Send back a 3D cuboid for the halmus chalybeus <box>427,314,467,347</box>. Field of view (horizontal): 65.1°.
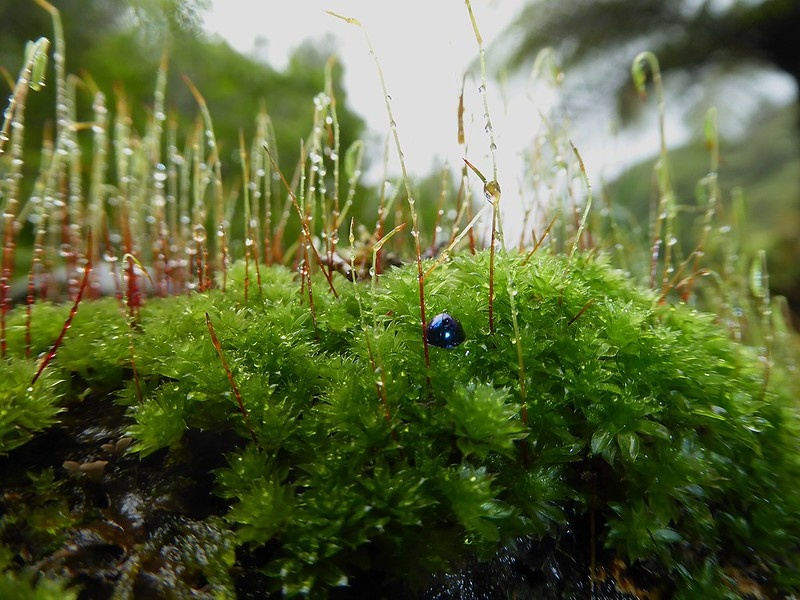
[{"bbox_3d":[0.182,0.126,2.580,0.113,0.155,0.088,-9,15,3],"label":"halmus chalybeus"}]
